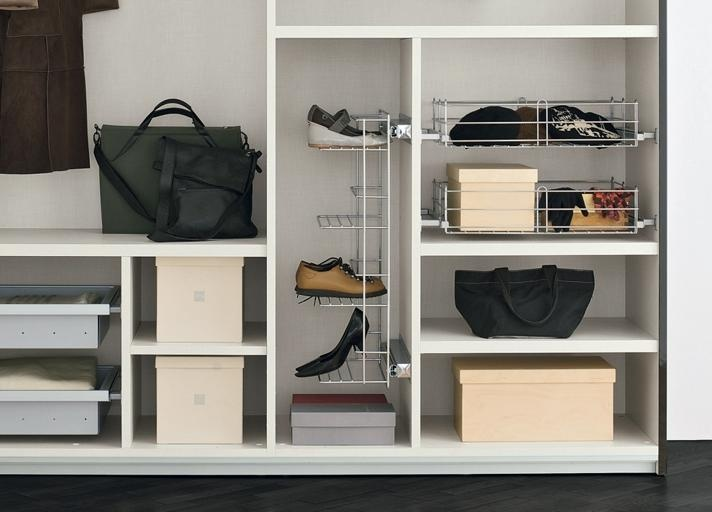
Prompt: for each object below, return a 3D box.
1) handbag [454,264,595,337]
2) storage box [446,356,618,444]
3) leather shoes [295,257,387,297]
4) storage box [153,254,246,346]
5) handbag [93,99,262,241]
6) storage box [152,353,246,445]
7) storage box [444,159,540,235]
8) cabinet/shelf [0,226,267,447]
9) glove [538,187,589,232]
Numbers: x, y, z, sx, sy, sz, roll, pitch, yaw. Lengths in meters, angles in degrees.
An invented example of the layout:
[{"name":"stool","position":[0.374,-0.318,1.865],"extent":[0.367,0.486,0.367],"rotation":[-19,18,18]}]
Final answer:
[{"name":"handbag","position":[0.705,0.198,3.617],"extent":[0.550,0.303,0.264],"rotation":[0,2,-3]},{"name":"storage box","position":[0.715,0.606,3.537],"extent":[0.610,0.291,0.327],"rotation":[0,0,-1]},{"name":"leather shoes","position":[-0.052,0.097,3.577],"extent":[0.385,0.159,0.143],"rotation":[2,0,10]},{"name":"storage box","position":[-0.630,0.171,3.471],"extent":[0.346,0.325,0.348],"rotation":[1,1,-3]},{"name":"handbag","position":[-0.753,-0.368,3.645],"extent":[0.690,0.591,0.453],"rotation":[-4,8,-11]},{"name":"storage box","position":[-0.651,0.591,3.659],"extent":[0.352,0.334,0.364],"rotation":[1,0,-2]},{"name":"storage box","position":[0.556,-0.231,3.485],"extent":[0.306,0.225,0.305],"rotation":[0,3,0]},{"name":"cabinet/shelf","position":[-0.895,0.177,3.772],"extent":[1.501,1.049,0.776],"rotation":[0,2,-5]},{"name":"glove","position":[0.847,-0.188,3.538],"extent":[0.180,0.161,0.037],"rotation":[1,4,15]}]
